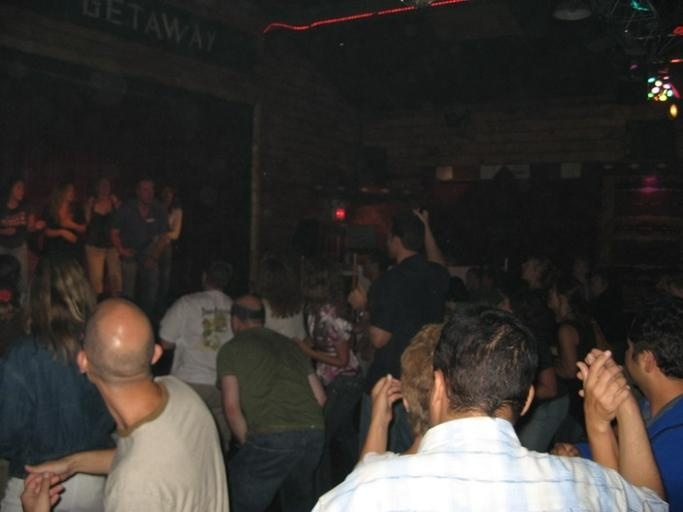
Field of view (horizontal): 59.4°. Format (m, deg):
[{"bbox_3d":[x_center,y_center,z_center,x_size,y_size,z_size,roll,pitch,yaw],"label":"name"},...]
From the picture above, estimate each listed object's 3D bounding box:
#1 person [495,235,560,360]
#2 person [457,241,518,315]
[{"bbox_3d":[1.591,0.313,5.187,0.432,0.391,1.334,-5,15,12],"label":"person"},{"bbox_3d":[1.603,0.201,6.488,0.354,0.347,1.066,-25,10,23],"label":"person"}]
